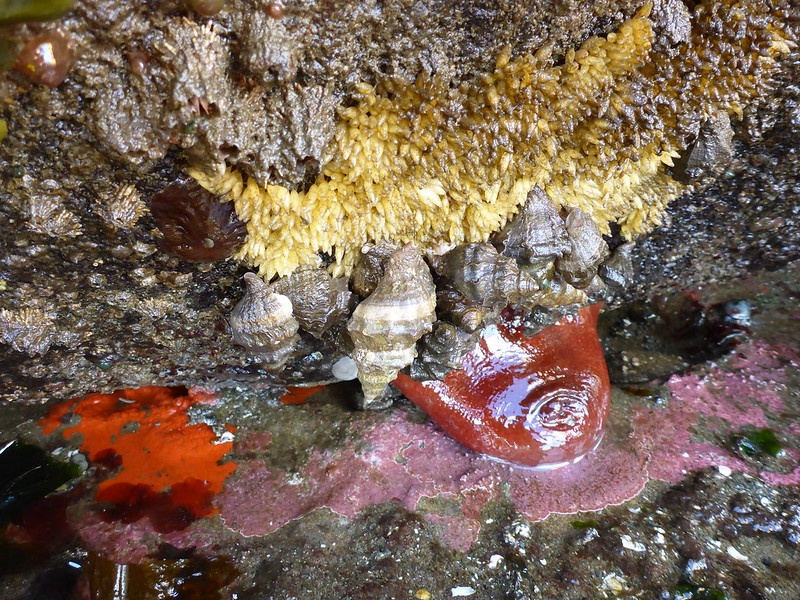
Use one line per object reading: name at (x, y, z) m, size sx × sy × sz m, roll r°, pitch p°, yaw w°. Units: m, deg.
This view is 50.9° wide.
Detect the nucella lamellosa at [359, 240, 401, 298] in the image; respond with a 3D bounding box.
nucella lamellosa at (-0.130, -0.160, 4.529) m, size 0.207 × 0.103 × 0.257 m, roll 23°, pitch 100°, yaw 30°

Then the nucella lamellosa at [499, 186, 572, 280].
nucella lamellosa at (0.660, -0.342, 4.617) m, size 0.200 × 0.556 × 0.445 m, roll -30°, pitch 45°, yaw 0°

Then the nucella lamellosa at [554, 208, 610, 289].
nucella lamellosa at (1.064, -0.211, 4.675) m, size 0.134 × 0.402 × 0.280 m, roll 18°, pitch 83°, yaw 26°
